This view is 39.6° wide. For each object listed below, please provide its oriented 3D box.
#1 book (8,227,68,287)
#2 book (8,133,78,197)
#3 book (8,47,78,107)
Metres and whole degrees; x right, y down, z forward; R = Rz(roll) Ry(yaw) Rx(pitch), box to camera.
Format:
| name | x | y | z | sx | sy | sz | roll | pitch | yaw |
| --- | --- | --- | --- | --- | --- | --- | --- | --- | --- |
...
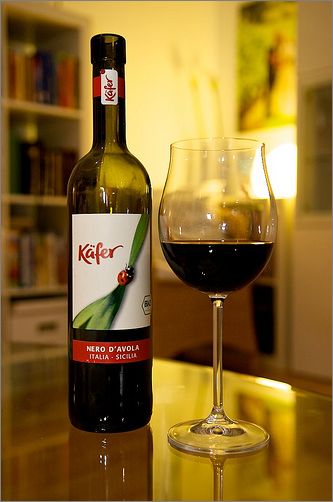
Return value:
| name | x | y | z | sx | sy | sz | roll | pitch | yaw |
| --- | --- | --- | --- | --- | --- | --- | --- | --- | --- |
| book | -0.616 | 0.041 | 2.208 | 0.309 | 0.267 | 0.058 | 4 | -6 | -39 |
| book | -0.602 | -0.368 | 2.314 | 0.264 | 0.359 | 0.357 | 1 | 0 | 25 |
| book | -0.590 | -0.821 | 2.205 | 0.336 | 0.331 | 0.182 | -2 | 5 | -44 |
